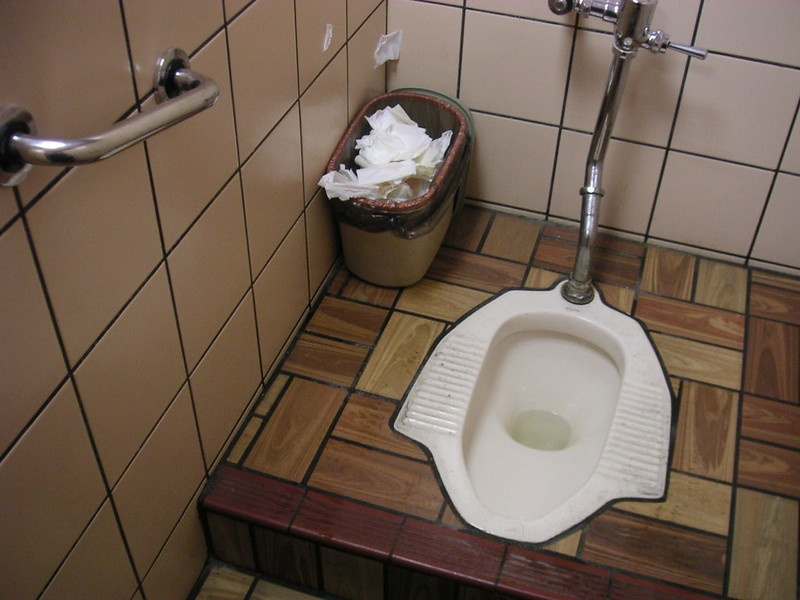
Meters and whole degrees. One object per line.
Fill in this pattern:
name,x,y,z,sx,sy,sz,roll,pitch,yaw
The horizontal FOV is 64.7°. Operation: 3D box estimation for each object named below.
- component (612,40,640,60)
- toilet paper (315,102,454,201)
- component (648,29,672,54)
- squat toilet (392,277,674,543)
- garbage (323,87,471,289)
component,0.496,-0.549,1.387,0.039,0.031,0.044,0,62,9
toilet paper,-0.020,-0.330,1.527,0.207,0.114,0.351,21,69,15
component,0.563,-0.564,1.376,0.054,0.046,0.033,8,40,-3
squat toilet,0.311,0.258,1.425,0.657,0.174,0.584,-5,45,-18
garbage,0.013,-0.272,1.679,0.324,0.340,0.486,10,51,8
